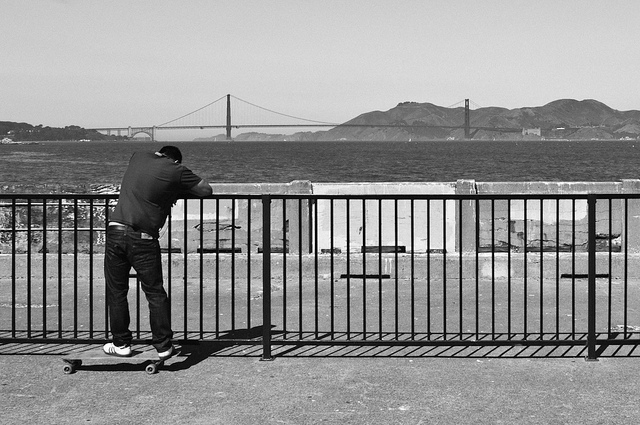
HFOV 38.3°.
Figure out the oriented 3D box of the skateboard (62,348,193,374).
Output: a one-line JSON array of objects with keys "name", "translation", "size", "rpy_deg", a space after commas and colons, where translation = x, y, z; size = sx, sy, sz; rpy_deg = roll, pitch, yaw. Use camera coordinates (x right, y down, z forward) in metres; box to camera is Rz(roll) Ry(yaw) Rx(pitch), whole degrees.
[{"name": "skateboard", "translation": [-2.089, 1.517, 9.741], "size": [1.252, 0.140, 0.428], "rpy_deg": [1, 2, 6]}]
